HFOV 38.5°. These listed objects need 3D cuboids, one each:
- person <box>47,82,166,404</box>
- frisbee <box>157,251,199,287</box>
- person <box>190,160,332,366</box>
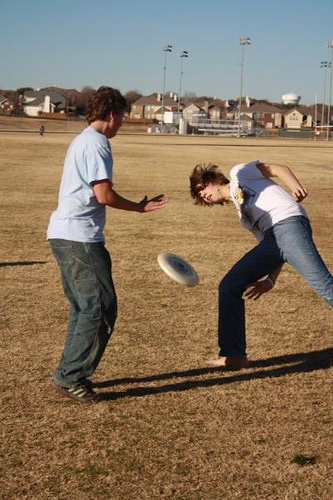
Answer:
[{"bbox_3d":[-0.452,-0.024,2.963,0.456,1.943,0.492,13,18,41],"label":"person"},{"bbox_3d":[0.084,0.137,3.616,0.298,0.213,0.567,1,12,2],"label":"frisbee"},{"bbox_3d":[0.632,0.150,3.321,0.451,1.527,1.000,-9,16,-36],"label":"person"}]
